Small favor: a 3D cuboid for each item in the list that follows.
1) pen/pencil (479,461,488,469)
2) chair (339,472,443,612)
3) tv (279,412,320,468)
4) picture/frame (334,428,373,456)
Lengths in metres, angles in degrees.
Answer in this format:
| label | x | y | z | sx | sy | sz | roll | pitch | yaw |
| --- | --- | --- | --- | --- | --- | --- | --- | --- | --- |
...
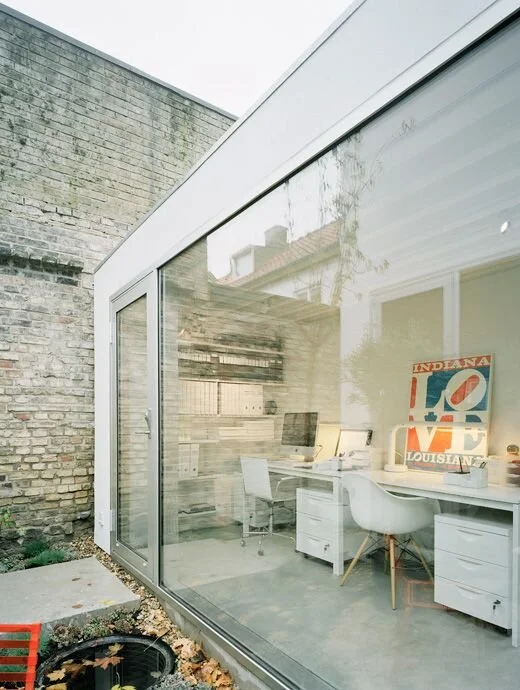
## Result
| label | x | y | z | sx | sy | sz | roll | pitch | yaw |
| --- | --- | --- | --- | --- | --- | --- | --- | --- | --- |
| pen/pencil | 0.513 | 0.278 | 1.166 | 0.016 | 0.006 | 0.028 | -24 | -20 | 17 |
| chair | 0.389 | 0.579 | 1.556 | 0.247 | 0.333 | 0.253 | 5 | -11 | -29 |
| tv | 0.149 | 0.327 | 1.888 | 0.018 | 0.161 | 0.184 | 16 | -15 | -41 |
| picture/frame | 0.294 | 0.311 | 1.595 | 0.009 | 0.097 | 0.195 | -1 | -4 | -25 |
